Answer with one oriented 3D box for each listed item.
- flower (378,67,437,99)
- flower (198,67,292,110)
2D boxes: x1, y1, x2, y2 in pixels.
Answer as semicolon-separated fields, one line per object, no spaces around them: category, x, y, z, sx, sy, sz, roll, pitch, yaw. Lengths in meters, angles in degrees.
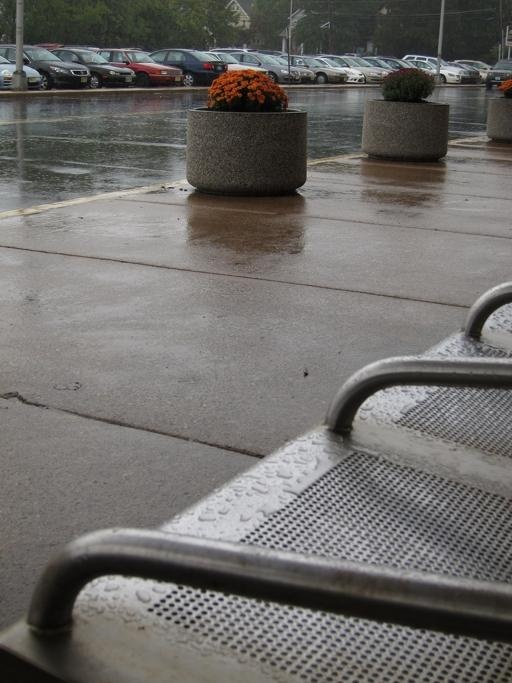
flower;2.814;-4.716;11.558;0.938;0.634;0.769;14;44;22
flower;-0.167;-3.124;7.640;0.773;0.402;0.688;12;30;22
